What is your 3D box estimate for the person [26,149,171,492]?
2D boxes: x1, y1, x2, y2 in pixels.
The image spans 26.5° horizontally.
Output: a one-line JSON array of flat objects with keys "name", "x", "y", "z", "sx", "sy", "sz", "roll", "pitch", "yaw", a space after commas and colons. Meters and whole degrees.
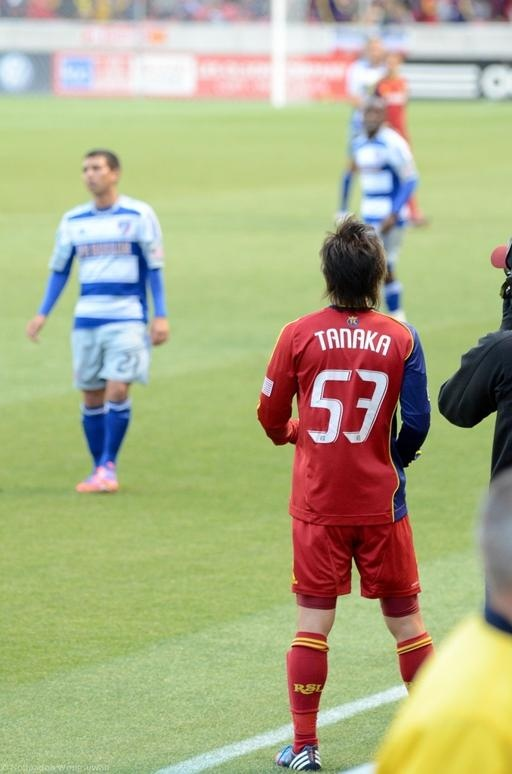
[{"name": "person", "x": -0.582, "y": -0.295, "z": 3.974, "sx": 0.487, "sy": 1.091, "sz": 0.203, "roll": -1, "pitch": 15, "yaw": -4}]

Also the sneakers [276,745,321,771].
[{"name": "sneakers", "x": 0.106, "y": 0.933, "z": 2.769, "sx": 0.051, "sy": 0.053, "sz": 0.131, "roll": 2, "pitch": -2, "yaw": -21}]

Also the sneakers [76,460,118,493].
[{"name": "sneakers", "x": -0.618, "y": 0.361, "z": 4.254, "sx": 0.219, "sy": 0.130, "sz": 0.077, "roll": -1, "pitch": -10, "yaw": 11}]
